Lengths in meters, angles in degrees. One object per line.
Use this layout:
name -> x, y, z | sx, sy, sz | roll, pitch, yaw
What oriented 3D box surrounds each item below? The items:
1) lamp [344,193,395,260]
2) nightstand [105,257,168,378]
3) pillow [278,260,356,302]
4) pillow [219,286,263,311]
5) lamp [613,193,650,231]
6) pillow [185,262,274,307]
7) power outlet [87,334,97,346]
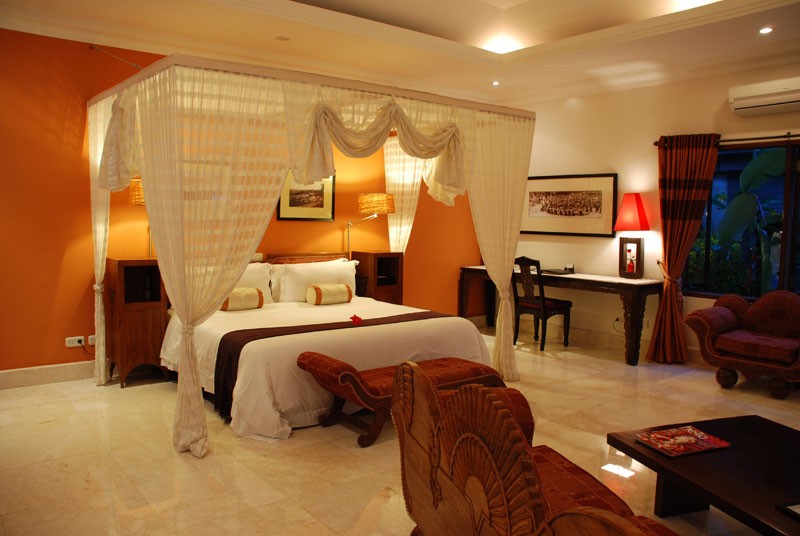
lamp -> -0.448, -0.570, 7.592 | 0.559, 0.925, 0.707 | -5, 13, -23
nightstand -> -2.984, 0.571, 6.193 | 0.678, 1.419, 0.538 | -7, 14, -30
pillow -> -1.089, 0.172, 6.863 | 0.649, 0.590, 0.200 | -2, -34, -16
pillow -> -1.768, 0.358, 6.196 | 0.361, 0.229, 0.264 | -4, -2, -35
lamp -> 3.076, -0.720, 7.330 | 0.459, 0.595, 0.501 | -1, 2, 19
pillow -> -1.654, 0.161, 5.250 | 0.426, 0.445, 0.172 | 1, -11, -30
power outlet -> -3.509, 0.807, 6.249 | 0.126, 0.125, 0.120 | 1, -2, -30
